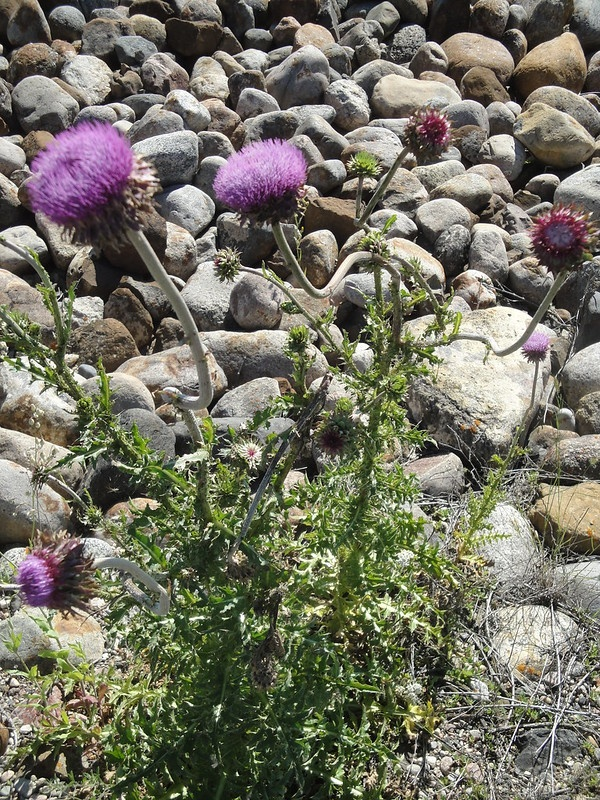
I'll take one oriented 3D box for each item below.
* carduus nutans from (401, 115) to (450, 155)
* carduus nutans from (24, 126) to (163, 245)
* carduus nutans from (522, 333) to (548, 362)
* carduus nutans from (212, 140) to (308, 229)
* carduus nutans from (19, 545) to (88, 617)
[{"bbox_3d":[0.510,-1.077,4.507,0.196,0.162,0.182,1,6,-28],"label":"carduus nutans"},{"bbox_3d":[-0.657,-0.696,3.503,0.402,0.289,0.371,-14,40,-13],"label":"carduus nutans"},{"bbox_3d":[1.254,-0.277,5.807,0.161,0.086,0.168,-1,36,6],"label":"carduus nutans"},{"bbox_3d":[-0.156,-0.793,4.025,0.333,0.229,0.326,5,40,48],"label":"carduus nutans"},{"bbox_3d":[-0.824,0.612,3.662,0.269,0.208,0.230,6,-12,-32],"label":"carduus nutans"}]
